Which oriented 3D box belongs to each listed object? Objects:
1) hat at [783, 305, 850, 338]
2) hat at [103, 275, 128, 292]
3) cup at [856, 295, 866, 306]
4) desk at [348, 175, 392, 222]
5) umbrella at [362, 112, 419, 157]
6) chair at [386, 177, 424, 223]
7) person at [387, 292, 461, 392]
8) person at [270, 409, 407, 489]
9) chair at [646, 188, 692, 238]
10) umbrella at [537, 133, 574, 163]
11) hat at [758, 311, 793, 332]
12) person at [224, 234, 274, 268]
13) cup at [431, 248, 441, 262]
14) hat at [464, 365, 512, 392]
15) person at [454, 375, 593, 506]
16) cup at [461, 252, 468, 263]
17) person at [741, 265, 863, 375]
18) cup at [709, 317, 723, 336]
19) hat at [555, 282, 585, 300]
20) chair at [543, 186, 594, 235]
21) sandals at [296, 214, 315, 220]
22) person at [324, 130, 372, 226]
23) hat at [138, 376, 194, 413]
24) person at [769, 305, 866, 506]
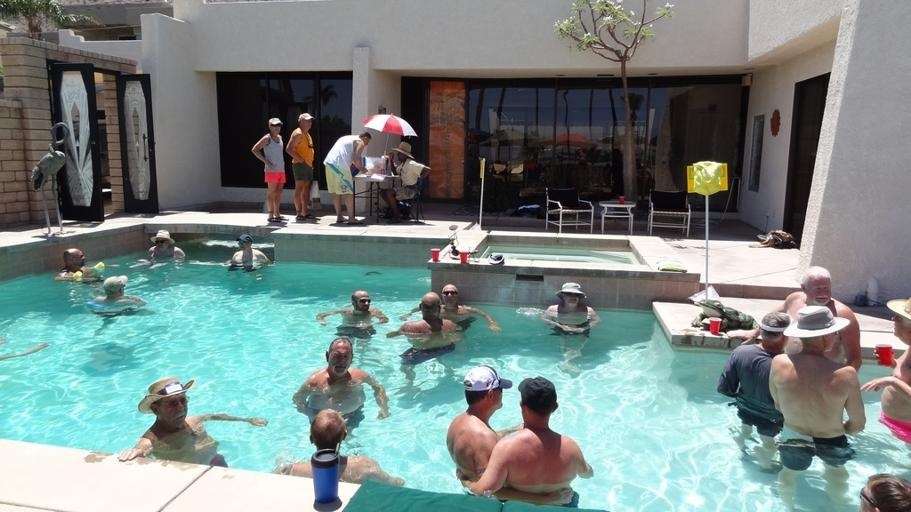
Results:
[{"bbox_3d":[4.547,0.786,7.731,0.524,0.150,0.523,-29,21,-36],"label":"hat"},{"bbox_3d":[-6.245,0.546,11.395,0.329,0.300,0.351,-5,14,-20],"label":"hat"},{"bbox_3d":[7.124,0.779,10.871,0.133,0.231,0.159,8,-6,7],"label":"cup"},{"bbox_3d":[-2.414,-1.665,17.229,0.946,0.739,1.720,11,5,3],"label":"desk"},{"bbox_3d":[-1.557,-3.015,14.860,1.147,0.692,1.106,20,16,11],"label":"umbrella"},{"bbox_3d":[-1.273,-1.463,16.105,1.166,1.440,1.158,1,10,-3],"label":"chair"},{"bbox_3d":[-0.477,1.448,10.073,1.157,1.682,0.933,2,33,-16],"label":"person"},{"bbox_3d":[-1.363,2.370,7.488,1.498,1.147,0.862,-2,13,-10],"label":"person"},{"bbox_3d":[5.400,-1.025,15.600,1.085,1.062,0.987,6,15,29],"label":"chair"},{"bbox_3d":[2.971,-3.159,18.200,0.856,0.611,0.826,-1,17,1],"label":"umbrella"},{"bbox_3d":[4.253,0.850,8.186,0.258,0.172,0.327,3,5,43],"label":"hat"},{"bbox_3d":[-4.467,-0.032,13.616,1.128,0.947,0.672,1,6,-1],"label":"person"},{"bbox_3d":[-0.360,-0.024,11.748,0.156,0.237,0.278,2,13,9],"label":"cup"},{"bbox_3d":[0.371,1.482,7.499,0.489,0.179,0.309,-2,7,-32],"label":"hat"},{"bbox_3d":[0.871,2.186,7.148,1.173,1.496,0.454,0,13,2],"label":"person"},{"bbox_3d":[0.169,0.031,11.630,0.175,0.163,0.170,-1,3,0],"label":"cup"},{"bbox_3d":[5.018,0.943,8.873,0.703,1.695,1.191,1,17,-27],"label":"person"},{"bbox_3d":[4.103,1.116,9.849,0.232,0.193,0.224,0,7,0],"label":"cup"},{"bbox_3d":[2.013,0.602,10.882,0.421,0.248,0.255,6,14,26],"label":"hat"},{"bbox_3d":[2.943,-1.239,16.021,1.102,0.941,2.711,2,13,9],"label":"chair"},{"bbox_3d":[-3.665,-0.953,15.222,0.479,0.118,0.168,0,6,13],"label":"sandals"},{"bbox_3d":[-2.602,-1.909,15.056,0.981,2.135,1.279,-2,13,-9],"label":"person"},{"bbox_3d":[-3.653,1.696,7.738,0.576,0.209,0.556,-25,3,-21],"label":"hat"},{"bbox_3d":[4.512,1.839,7.773,1.071,2.380,0.688,8,15,30],"label":"person"}]
